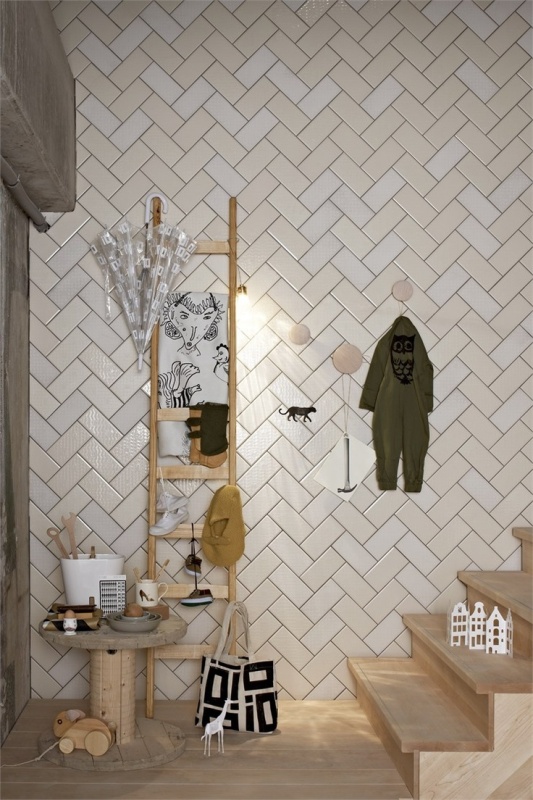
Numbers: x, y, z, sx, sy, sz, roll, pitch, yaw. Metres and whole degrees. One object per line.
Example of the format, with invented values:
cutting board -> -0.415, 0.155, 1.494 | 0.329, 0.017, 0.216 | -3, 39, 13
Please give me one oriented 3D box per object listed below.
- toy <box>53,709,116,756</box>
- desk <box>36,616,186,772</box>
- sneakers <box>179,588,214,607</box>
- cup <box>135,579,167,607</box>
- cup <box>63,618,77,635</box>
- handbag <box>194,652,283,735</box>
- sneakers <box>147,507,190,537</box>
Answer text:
toy -> -0.653, 1.164, 3.122 | 0.253, 0.120, 0.124 | 2, 3, 19
desk -> -0.518, 1.047, 3.255 | 0.512, 0.448, 0.582 | 3, 3, 36
sneakers -> -0.276, 0.816, 3.652 | 0.174, 0.083, 0.055 | -2, -33, -1
cup -> -0.458, 0.767, 3.498 | 0.084, 0.096, 0.131 | -5, -11, 27
cup -> -0.704, 0.809, 3.184 | 0.042, 0.047, 0.051 | 2, -10, -6
handbag -> -0.111, 1.127, 3.411 | 0.346, 0.275, 0.118 | -5, -14, 23
sneakers -> -0.403, 0.505, 3.722 | 0.076, 0.076, 0.188 | 12, 36, 33
